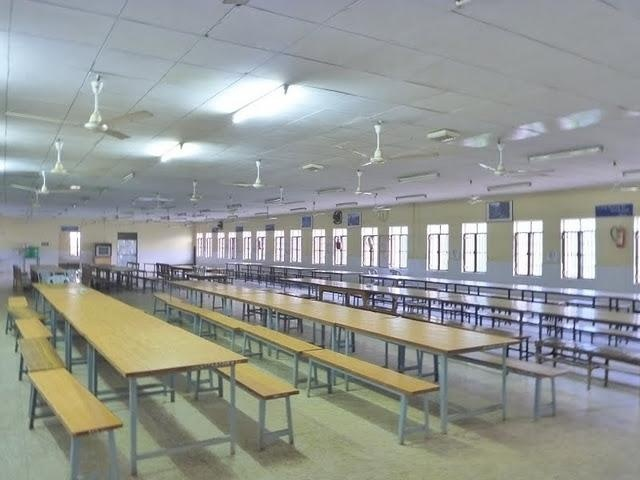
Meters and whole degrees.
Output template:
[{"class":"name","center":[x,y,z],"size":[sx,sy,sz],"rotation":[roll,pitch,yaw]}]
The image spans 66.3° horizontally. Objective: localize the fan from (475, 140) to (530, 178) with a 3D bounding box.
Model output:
[{"class":"fan","center":[2.913,-1.289,7.801],"size":[0.828,0.517,0.791],"rotation":[-11,13,-32]}]

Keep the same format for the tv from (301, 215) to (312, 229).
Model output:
[{"class":"tv","center":[-0.548,-0.701,20.036],"size":[0.082,0.456,0.587],"rotation":[7,-6,-35]}]

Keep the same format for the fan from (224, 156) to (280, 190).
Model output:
[{"class":"fan","center":[-1.375,-1.381,10.502],"size":[0.674,0.413,0.681],"rotation":[4,3,43]}]

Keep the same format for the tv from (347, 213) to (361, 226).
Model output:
[{"class":"tv","center":[1.232,-0.715,17.804],"size":[0.075,0.454,0.670],"rotation":[-3,5,-36]}]
